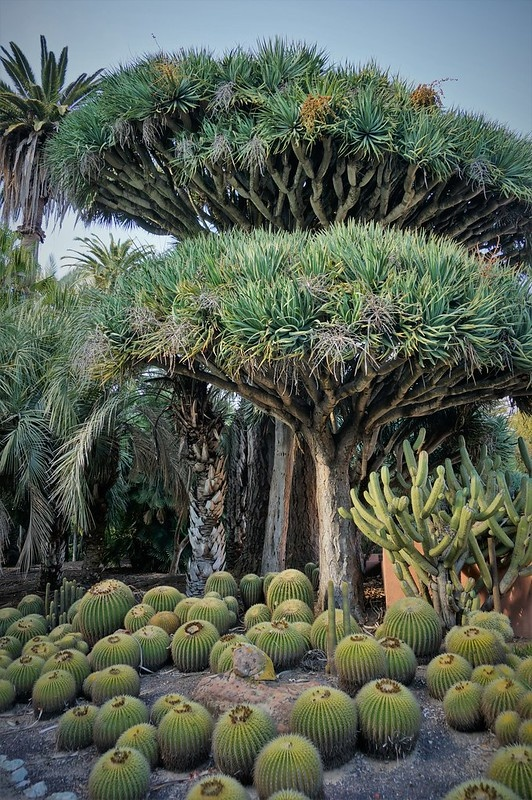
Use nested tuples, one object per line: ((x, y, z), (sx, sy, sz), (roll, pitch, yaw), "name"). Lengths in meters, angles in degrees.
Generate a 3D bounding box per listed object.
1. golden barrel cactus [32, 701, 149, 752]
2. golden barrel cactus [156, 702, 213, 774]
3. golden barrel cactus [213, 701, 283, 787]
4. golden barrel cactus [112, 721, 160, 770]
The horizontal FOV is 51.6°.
((-0.649, 1.179, 2.084), (0.295, 0.164, 0.199), (-9, -1, 15), "golden barrel cactus")
((-0.265, 1.121, 1.859), (0.164, 0.195, 0.184), (0, 4, 1), "golden barrel cactus")
((-0.077, 1.046, 1.768), (0.183, 0.194, 0.184), (-6, 7, -41), "golden barrel cactus")
((-0.441, 1.129, 1.839), (0.138, 0.155, 0.145), (0, -1, -11), "golden barrel cactus")
